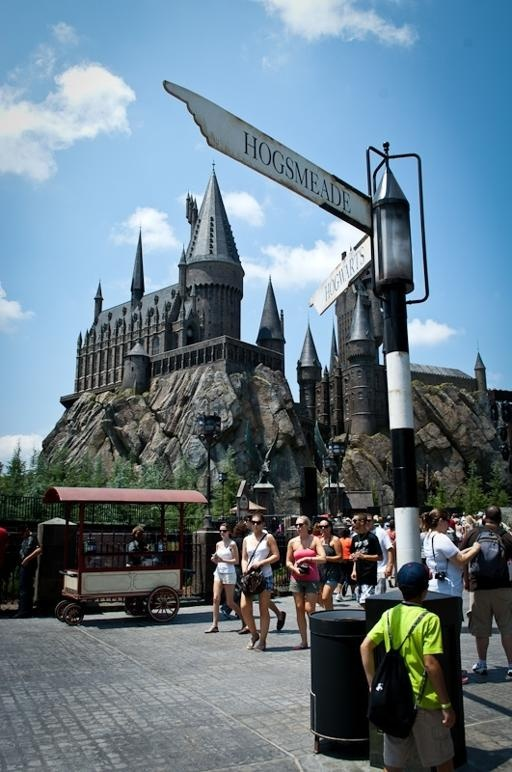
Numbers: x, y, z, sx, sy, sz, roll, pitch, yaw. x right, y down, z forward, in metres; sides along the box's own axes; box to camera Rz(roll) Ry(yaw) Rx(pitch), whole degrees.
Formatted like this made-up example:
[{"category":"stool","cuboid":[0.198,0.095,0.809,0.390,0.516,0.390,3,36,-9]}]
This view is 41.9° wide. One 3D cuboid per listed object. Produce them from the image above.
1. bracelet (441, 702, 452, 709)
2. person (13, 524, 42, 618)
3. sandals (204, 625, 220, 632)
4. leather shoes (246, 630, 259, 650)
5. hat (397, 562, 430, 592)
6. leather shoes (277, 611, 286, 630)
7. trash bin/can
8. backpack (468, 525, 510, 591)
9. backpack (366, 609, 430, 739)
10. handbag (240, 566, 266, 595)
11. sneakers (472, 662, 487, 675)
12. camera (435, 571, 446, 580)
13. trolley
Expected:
[{"category":"bracelet","cuboid":[0.950,1.602,3.347,0.039,0.022,0.032,-12,-14,37]},{"category":"person","cuboid":[-4.314,3.567,12.719,0.341,1.646,0.830,3,-9,-19]},{"category":"sandals","cuboid":[-0.702,3.901,10.714,0.223,0.189,0.111,8,-19,-5]},{"category":"leather shoes","cuboid":[-0.032,3.468,9.086,0.112,0.303,0.114,13,-1,-10]},{"category":"hat","cuboid":[0.862,1.018,3.652,0.123,0.113,0.180,1,13,23]},{"category":"leather shoes","cuboid":[0.412,3.779,10.602,0.115,0.409,0.145,2,5,-8]},{"category":"trash bin/can","cuboid":[0.666,2.195,5.055,0.573,0.952,0.558,0,-4,-14]},{"category":"backpack","cuboid":[2.536,1.872,7.269,0.444,0.654,0.349,-3,-9,17]},{"category":"backpack","cuboid":[0.746,1.493,3.482,0.323,0.606,0.235,7,-17,-24]},{"category":"handbag","cuboid":[-0.026,2.695,9.181,0.425,0.570,0.317,-1,-21,1]},{"category":"sneakers","cuboid":[2.392,3.033,7.177,0.084,0.130,0.185,4,-11,-8]},{"category":"camera","cuboid":[2.082,2.144,7.555,0.096,0.096,0.027,-2,-5,36]},{"category":"trolley","cuboid":[-2.433,3.300,12.841,2.692,2.410,1.411,5,-16,-24]}]
